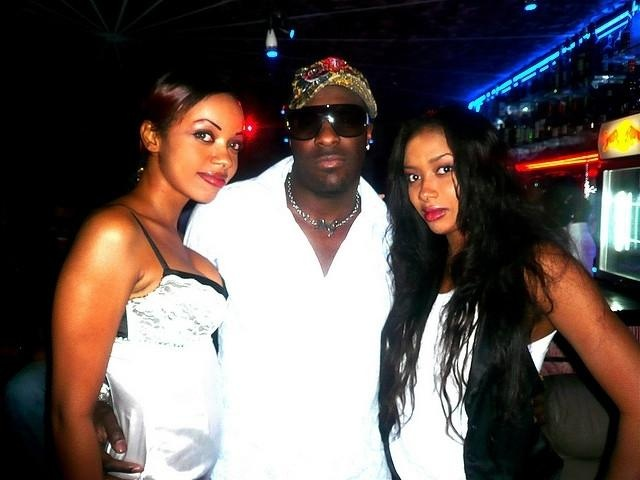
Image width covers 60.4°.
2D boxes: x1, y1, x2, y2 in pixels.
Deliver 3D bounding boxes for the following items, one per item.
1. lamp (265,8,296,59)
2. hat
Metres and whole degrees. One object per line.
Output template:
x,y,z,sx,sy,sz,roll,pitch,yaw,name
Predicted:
-0.622,-3.021,7.907,0.161,0.468,0.477,7,-21,9,lamp
0.101,-1.201,4.299,0.553,0.275,0.426,-4,24,-14,hat
